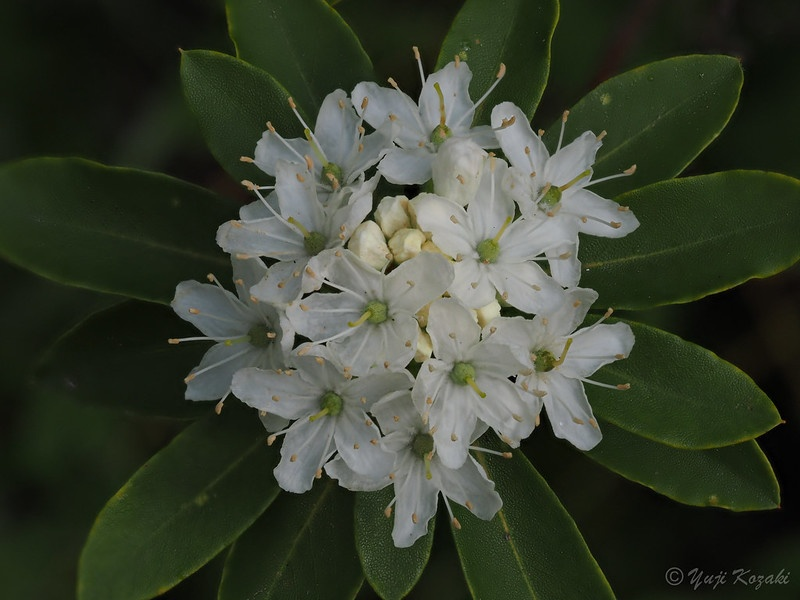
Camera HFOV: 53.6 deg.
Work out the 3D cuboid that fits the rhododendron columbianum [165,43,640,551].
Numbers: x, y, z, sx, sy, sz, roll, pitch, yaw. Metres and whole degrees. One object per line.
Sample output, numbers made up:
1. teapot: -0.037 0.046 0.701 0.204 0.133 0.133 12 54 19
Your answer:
1. rhododendron columbianum: 0.087 -0.040 4.005 1.890 0.845 2.076 34 100 4
